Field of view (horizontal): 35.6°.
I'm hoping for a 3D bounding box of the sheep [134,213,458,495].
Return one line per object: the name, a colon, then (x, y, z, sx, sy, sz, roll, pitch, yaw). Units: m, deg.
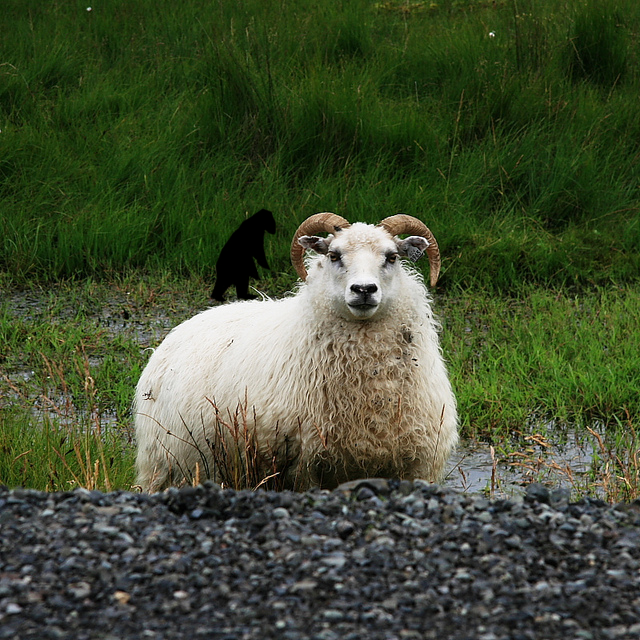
sheep: (-0.146, 0.294, 6.694, 1.217, 2.102, 2.155, 10, -18, -43)
